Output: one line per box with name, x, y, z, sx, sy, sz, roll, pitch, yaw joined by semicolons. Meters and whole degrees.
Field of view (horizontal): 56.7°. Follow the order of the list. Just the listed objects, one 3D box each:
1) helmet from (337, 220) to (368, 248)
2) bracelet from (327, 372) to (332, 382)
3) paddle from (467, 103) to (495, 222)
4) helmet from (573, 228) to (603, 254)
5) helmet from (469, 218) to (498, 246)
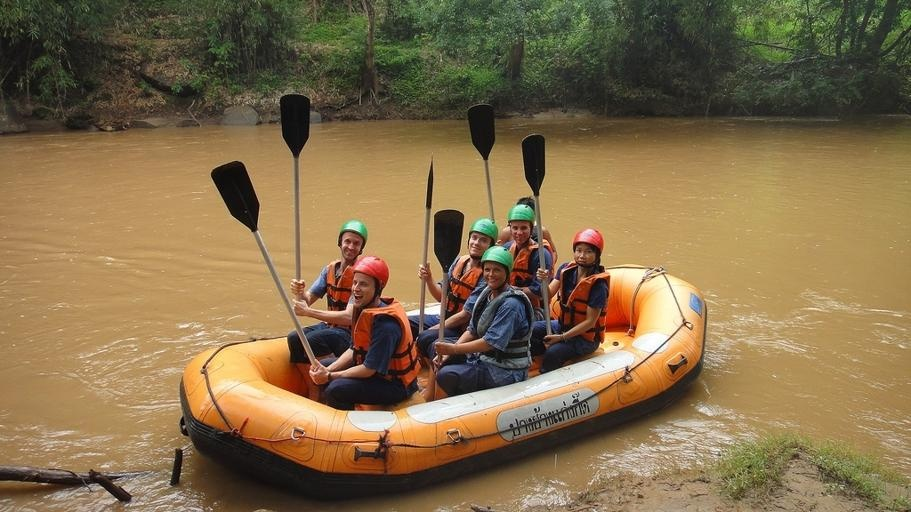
helmet;-1.732;-0.436;14.537;0.438;0.425;0.571;17;-22;6
bracelet;-2.042;1.950;13.703;0.074;0.088;0.033;4;-8;0
paddle;0.538;-1.868;15.354;0.529;2.725;0.145;-6;23;0
helmet;2.291;-0.281;14.492;0.404;0.431;0.521;15;10;5
helmet;0.525;-0.446;14.711;0.389;0.436;0.502;12;2;2
